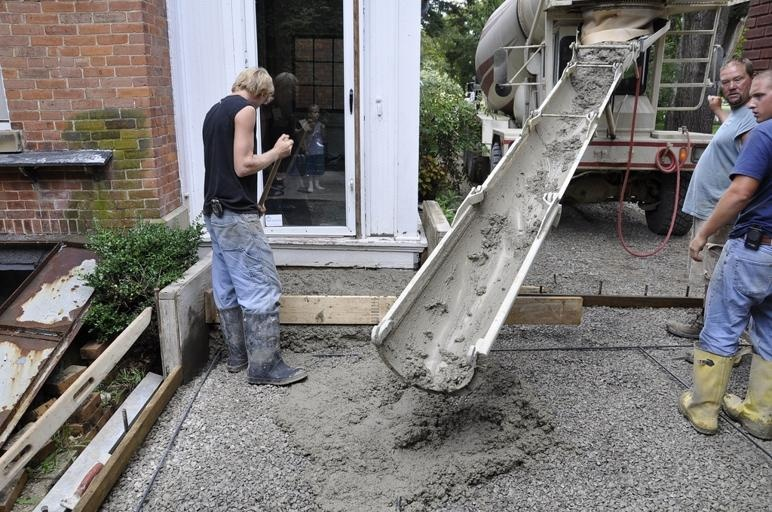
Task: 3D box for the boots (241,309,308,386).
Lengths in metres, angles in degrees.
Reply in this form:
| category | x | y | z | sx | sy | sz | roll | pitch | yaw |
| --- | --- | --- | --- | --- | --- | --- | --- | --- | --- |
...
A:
| category | x | y | z | sx | sy | sz | roll | pitch | yaw |
| --- | --- | --- | --- | --- | --- | --- | --- | --- | --- |
| boots | -1.154 | 0.835 | 5.728 | 0.744 | 0.849 | 0.439 | 0 | 10 | -14 |

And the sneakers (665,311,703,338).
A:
| category | x | y | z | sx | sy | sz | roll | pitch | yaw |
| --- | --- | --- | --- | --- | --- | --- | --- | --- | --- |
| sneakers | 3.034 | 0.718 | 6.330 | 0.437 | 0.217 | 0.166 | 5 | 10 | 24 |

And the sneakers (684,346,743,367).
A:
| category | x | y | z | sx | sy | sz | roll | pitch | yaw |
| --- | --- | --- | --- | --- | --- | --- | --- | --- | --- |
| sneakers | 2.784 | 0.860 | 5.153 | 0.311 | 0.119 | 0.244 | -10 | 3 | 5 |

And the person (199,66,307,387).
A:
| category | x | y | z | sx | sy | sz | roll | pitch | yaw |
| --- | --- | --- | --- | --- | --- | --- | --- | --- | --- |
| person | -1.230 | -0.227 | 5.462 | 0.757 | 2.744 | 0.941 | -8 | 22 | -16 |
